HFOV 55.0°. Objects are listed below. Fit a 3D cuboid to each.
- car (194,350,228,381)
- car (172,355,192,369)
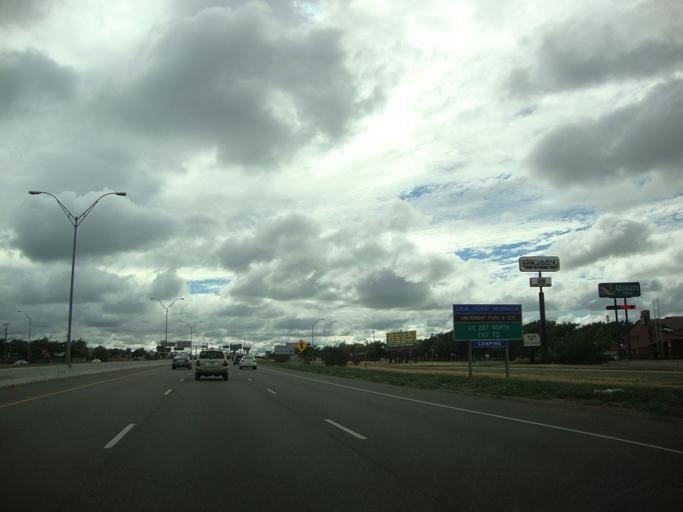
[{"bbox_3d":[-7.393,6.122,37.397,1.104,1.167,2.365,1,-5,-8],"label":"car"},{"bbox_3d":[-13.767,9.146,56.544,1.053,0.906,2.613,2,-6,-10],"label":"car"}]
